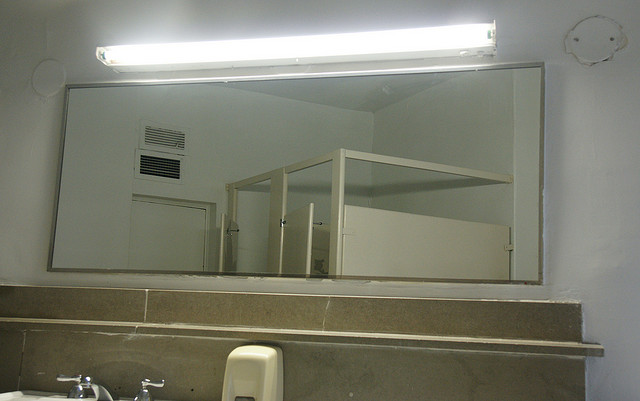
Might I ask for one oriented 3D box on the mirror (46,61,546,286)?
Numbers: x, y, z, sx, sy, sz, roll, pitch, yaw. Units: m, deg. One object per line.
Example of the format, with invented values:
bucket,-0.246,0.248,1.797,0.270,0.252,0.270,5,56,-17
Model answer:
mirror,-0.097,-0.051,2.310,2.143,0.975,0.023,-2,15,-3
